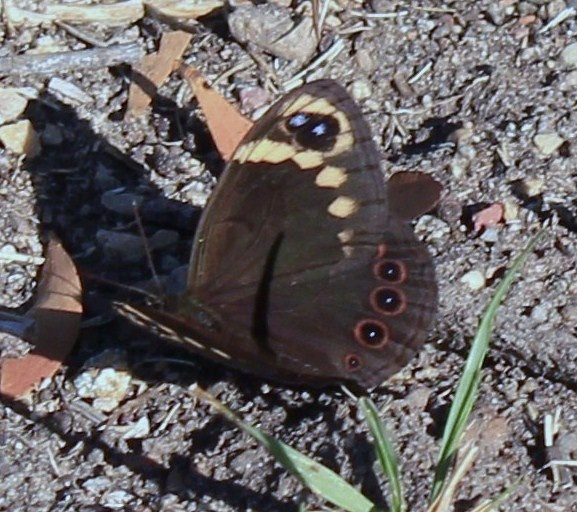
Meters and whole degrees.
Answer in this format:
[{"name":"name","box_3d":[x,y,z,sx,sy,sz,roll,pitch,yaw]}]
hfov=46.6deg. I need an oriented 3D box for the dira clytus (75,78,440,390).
[{"name":"dira clytus","box_3d":[0.140,-0.031,2.142,0.821,0.350,0.943,26,84,5]}]
